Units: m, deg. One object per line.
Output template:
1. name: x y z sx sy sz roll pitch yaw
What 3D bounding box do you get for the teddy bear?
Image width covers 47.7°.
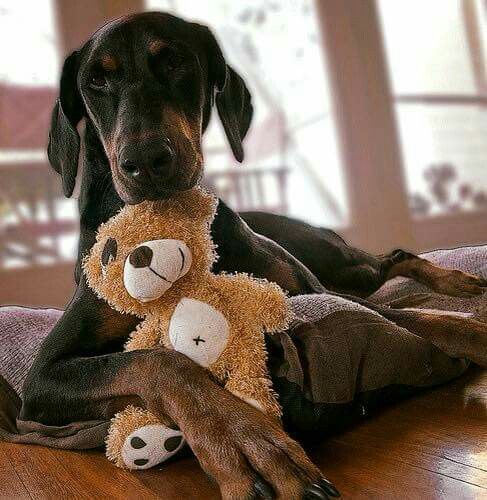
1. teddy bear: -0.117 0.164 1.296 0.492 0.616 0.265 -13 -23 8
